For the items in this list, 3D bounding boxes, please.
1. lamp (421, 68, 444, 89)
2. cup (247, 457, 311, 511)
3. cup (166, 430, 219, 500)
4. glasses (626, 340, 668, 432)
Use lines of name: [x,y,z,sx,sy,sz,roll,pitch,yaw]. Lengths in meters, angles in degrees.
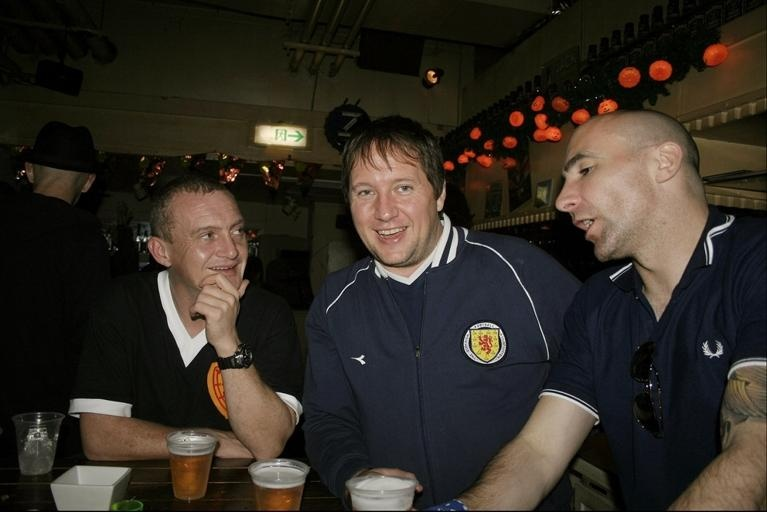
lamp: [0.672,-2.418,8.413,0.221,0.111,0.307,20,14,4]
cup: [-0.441,0.966,2.618,0.225,0.167,0.224,2,-8,0]
cup: [-0.871,0.944,2.799,0.205,0.282,0.161,1,3,-19]
glasses: [1.240,0.623,2.892,0.151,0.433,0.067,3,3,23]
